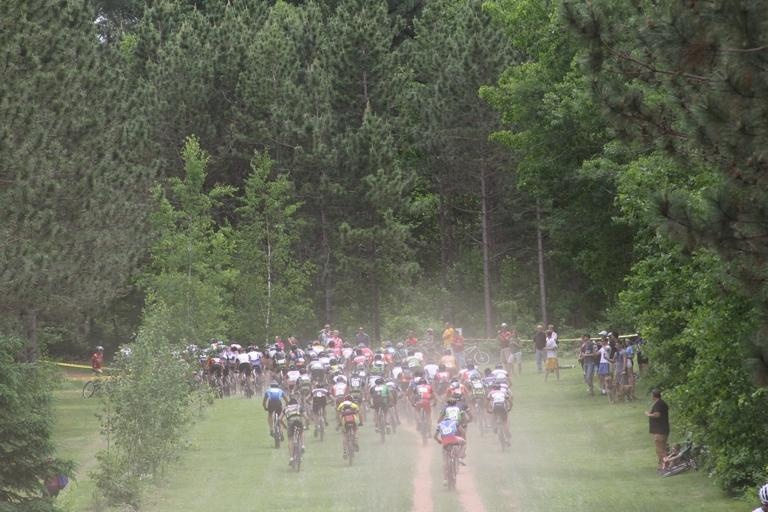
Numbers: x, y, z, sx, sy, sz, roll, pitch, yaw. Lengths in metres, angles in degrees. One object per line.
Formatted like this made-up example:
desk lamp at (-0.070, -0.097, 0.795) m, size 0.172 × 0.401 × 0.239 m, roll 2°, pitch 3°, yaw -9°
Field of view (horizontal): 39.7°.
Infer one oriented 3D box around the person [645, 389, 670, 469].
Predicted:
person at (9.563, 5.842, 36.583) m, size 1.009 × 2.792 × 1.107 m, roll 0°, pitch -1°, yaw 20°

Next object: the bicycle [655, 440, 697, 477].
bicycle at (10.060, 6.987, 36.369) m, size 1.442 × 0.961 × 0.779 m, roll -17°, pitch 19°, yaw -32°
